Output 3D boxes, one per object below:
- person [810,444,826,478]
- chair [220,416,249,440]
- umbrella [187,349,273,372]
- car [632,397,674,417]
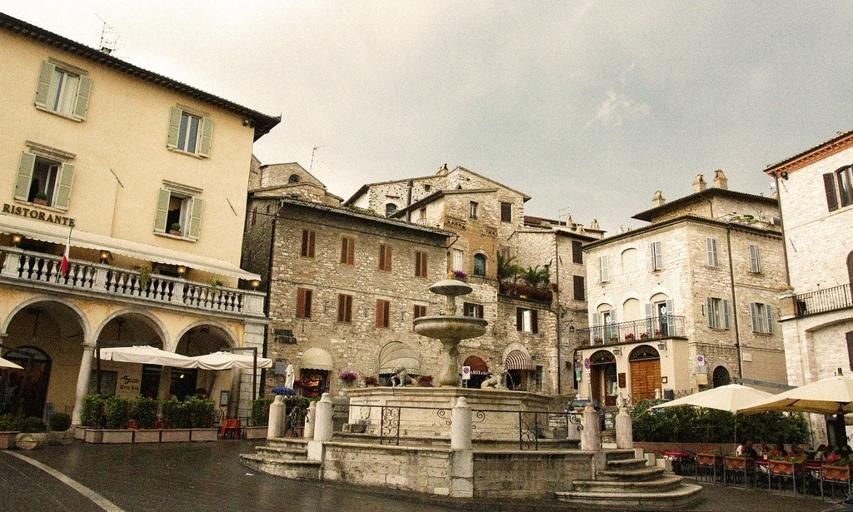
[{"bbox_3d":[14.101,7.336,24.709,0.554,1.178,3.106,-9,-20,28],"label":"person"},{"bbox_3d":[-8.528,7.583,30.303,1.155,0.750,1.033,-2,-24,3],"label":"chair"},{"bbox_3d":[-8.498,4.590,30.784,2.803,1.092,3.270,1,-18,2],"label":"umbrella"},{"bbox_3d":[10.526,7.241,32.834,2.074,0.634,1.931,-5,-8,8],"label":"car"}]
